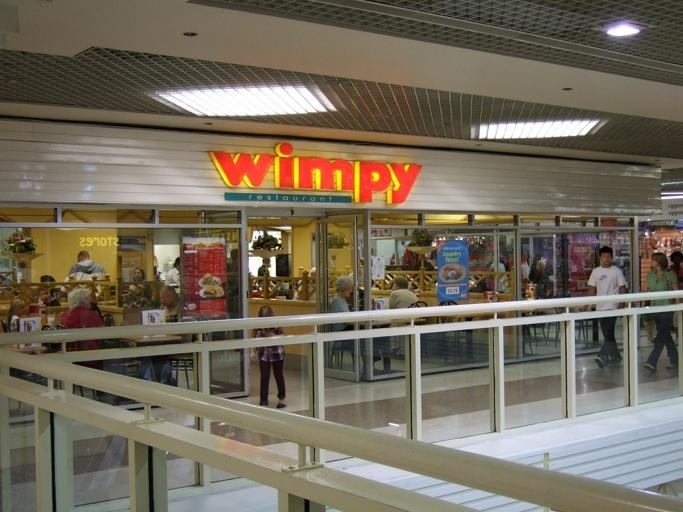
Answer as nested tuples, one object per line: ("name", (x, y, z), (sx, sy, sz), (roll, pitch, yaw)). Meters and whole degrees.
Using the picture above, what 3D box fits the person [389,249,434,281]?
("person", (1.360, 0.115, 10.469), (0.939, 0.556, 0.209), (0, -2, -42))

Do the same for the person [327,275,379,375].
("person", (0.114, 1.069, 9.250), (1.118, 1.393, 0.747), (4, 7, -25))
